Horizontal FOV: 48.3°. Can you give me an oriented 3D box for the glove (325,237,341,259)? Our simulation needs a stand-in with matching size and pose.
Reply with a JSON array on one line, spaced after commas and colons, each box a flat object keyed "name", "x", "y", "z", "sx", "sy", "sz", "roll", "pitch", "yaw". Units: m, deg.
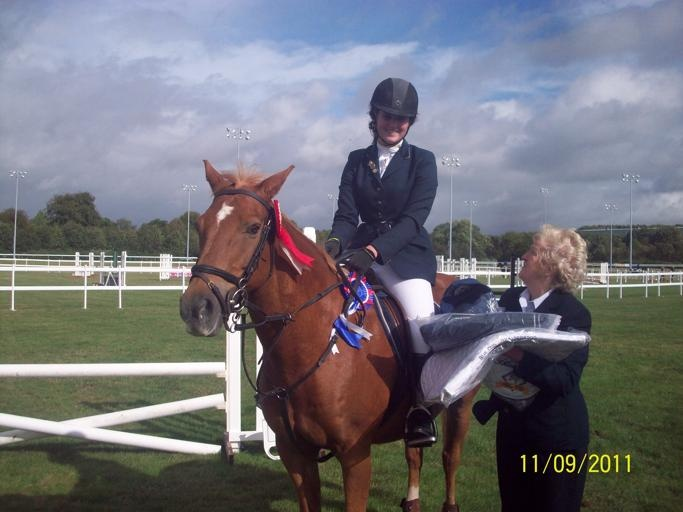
[{"name": "glove", "x": -0.085, "y": -0.056, "z": 8.592, "sx": 0.141, "sy": 0.204, "sz": 0.187, "roll": -2, "pitch": 1, "yaw": 0}]
